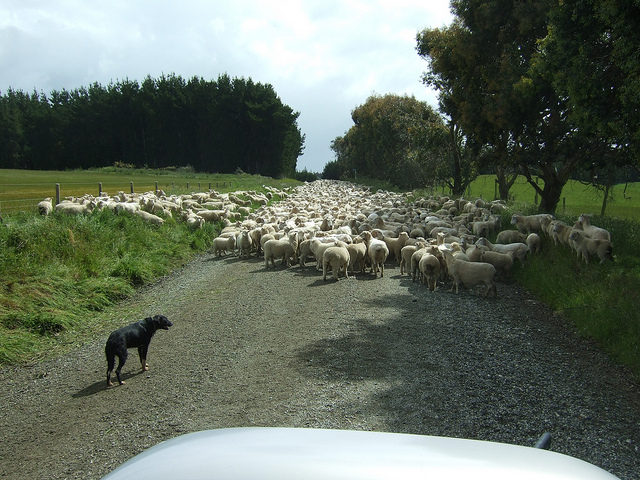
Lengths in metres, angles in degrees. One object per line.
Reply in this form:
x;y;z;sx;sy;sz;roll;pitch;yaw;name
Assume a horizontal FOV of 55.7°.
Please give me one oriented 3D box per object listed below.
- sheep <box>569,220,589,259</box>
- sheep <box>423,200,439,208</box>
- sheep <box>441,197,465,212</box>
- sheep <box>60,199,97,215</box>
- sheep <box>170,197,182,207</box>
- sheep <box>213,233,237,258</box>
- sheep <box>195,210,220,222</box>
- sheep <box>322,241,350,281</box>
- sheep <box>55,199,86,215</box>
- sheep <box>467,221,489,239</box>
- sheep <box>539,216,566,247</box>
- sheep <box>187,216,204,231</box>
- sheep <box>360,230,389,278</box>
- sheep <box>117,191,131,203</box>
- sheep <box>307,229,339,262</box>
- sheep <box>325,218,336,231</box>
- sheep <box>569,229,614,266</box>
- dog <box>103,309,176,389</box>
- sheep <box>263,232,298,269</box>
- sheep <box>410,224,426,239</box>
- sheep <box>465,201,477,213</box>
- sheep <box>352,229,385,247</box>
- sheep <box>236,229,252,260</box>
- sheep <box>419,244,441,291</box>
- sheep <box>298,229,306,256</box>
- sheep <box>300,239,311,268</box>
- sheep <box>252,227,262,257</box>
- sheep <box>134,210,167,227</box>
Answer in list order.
8.584;0.028;20.125;0.489;1.167;1.380;-2;33;36;sheep
6.553;-2.128;36.019;0.951;0.283;0.547;-7;0;17;sheep
7.160;-1.946;32.836;0.877;0.485;1.658;10;17;35;sheep
-10.422;-1.411;26.125;1.123;0.664;0.433;-17;54;-27;sheep
-8.116;-2.123;33.873;0.315;0.598;1.053;-18;38;-35;sheep
-4.029;0.251;25.615;0.939;0.895;0.837;-3;14;-12;sheep
-5.699;-1.294;30.574;1.310;0.773;0.482;5;24;-8;sheep
0.580;0.734;21.002;0.725;1.374;1.684;-3;1;26;sheep
-10.724;-1.411;26.073;0.469;0.724;1.303;14;27;25;sheep
6.482;-0.522;24.907;0.843;0.717;1.964;3;14;13;sheep
8.296;-0.394;21.748;0.396;0.964;1.595;-11;14;1;sheep
-5.888;-0.744;28.388;0.669;0.507;0.700;-3;14;-11;sheep
1.902;0.584;21.882;1.027;1.454;2.350;1;14;6;sheep
-10.049;-2.196;30.865;0.343;0.560;0.719;-1;2;-14;sheep
-0.027;0.135;22.896;1.690;1.120;0.653;3;6;31;sheep
0.397;-0.631;25.810;0.465;0.715;1.284;3;-5;1;sheep
8.672;0.249;19.387;1.326;0.951;0.888;6;15;25;sheep
-4.328;2.525;14.570;0.581;1.382;1.713;12;18;44;dog
-1.432;0.376;23.004;1.460;1.352;0.752;-1;7;15;sheep
3.961;-0.274;24.549;0.536;0.412;0.829;8;25;13;sheep
7.319;-1.597;29.668;0.378;0.750;1.319;0;8;13;sheep
1.790;-0.058;22.191;1.111;0.915;0.527;5;12;32;sheep
-3.110;0.165;24.937;0.604;1.206;0.820;-13;18;-42;sheep
3.461;0.892;19.231;0.657;1.322;1.233;2;14;9;sheep
-0.736;-0.069;23.367;0.261;0.646;1.121;-2;14;-7;sheep
-0.563;0.500;22.234;0.463;1.127;0.298;2;13;12;sheep
-2.600;0.055;24.941;0.391;1.358;1.069;-2;13;-7;sheep
-7.469;-0.974;26.620;1.166;0.577;1.082;0;14;1;sheep
